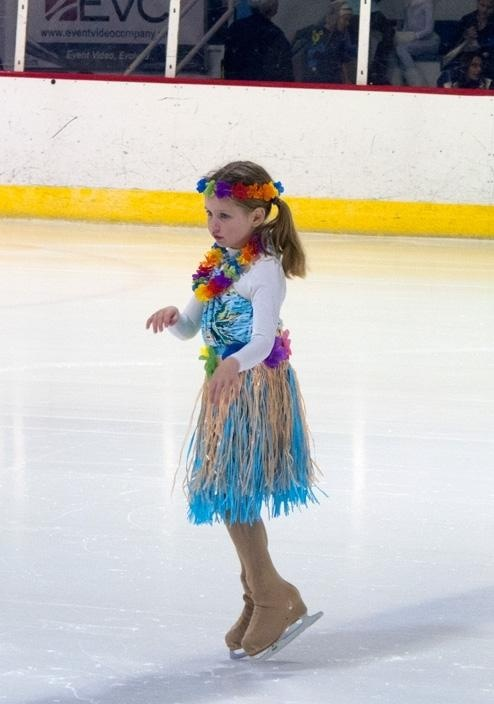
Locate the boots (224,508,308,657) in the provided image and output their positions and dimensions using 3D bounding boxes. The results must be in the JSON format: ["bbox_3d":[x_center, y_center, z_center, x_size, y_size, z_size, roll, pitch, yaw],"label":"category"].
[{"bbox_3d":[0.031,0.403,1.495,0.138,0.217,0.117,2,15,7],"label":"boots"}]

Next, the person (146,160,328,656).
[{"bbox_3d":[-0.012,0.080,1.569,0.323,0.828,0.446,-1,15,-7],"label":"person"}]
